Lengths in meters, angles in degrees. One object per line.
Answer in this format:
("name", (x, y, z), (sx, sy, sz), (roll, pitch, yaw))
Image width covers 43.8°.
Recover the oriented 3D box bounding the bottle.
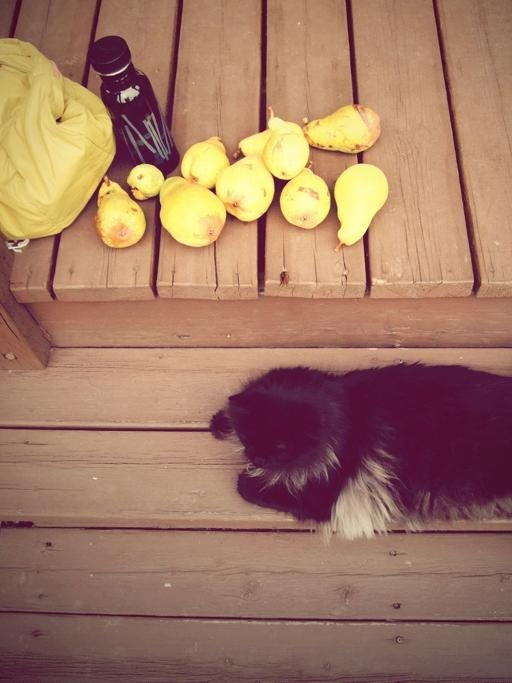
("bottle", (-0.231, -0.527, 1.432), (0.190, 0.319, 0.187), (0, 54, 0))
